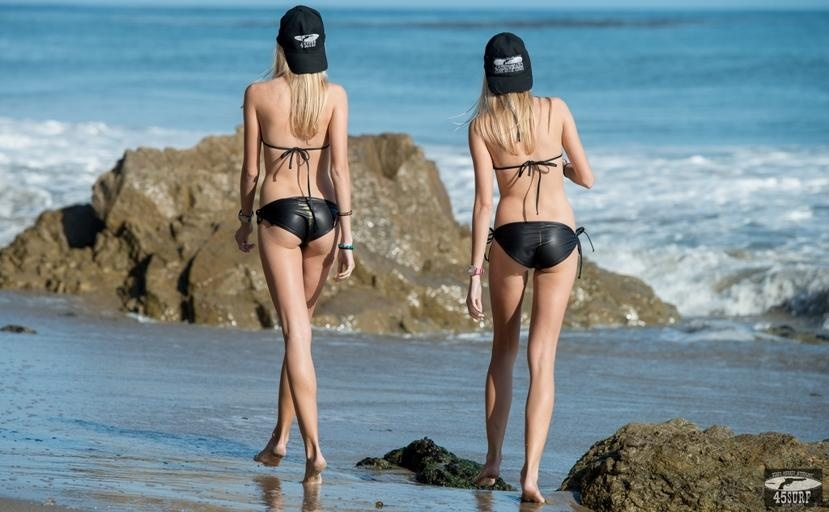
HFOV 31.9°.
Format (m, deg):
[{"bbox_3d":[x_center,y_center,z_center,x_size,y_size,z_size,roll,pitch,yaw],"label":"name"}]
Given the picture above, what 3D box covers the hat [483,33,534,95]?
[{"bbox_3d":[1.611,-3.292,24.947,0.824,1.098,0.557,-4,-24,1],"label":"hat"}]
